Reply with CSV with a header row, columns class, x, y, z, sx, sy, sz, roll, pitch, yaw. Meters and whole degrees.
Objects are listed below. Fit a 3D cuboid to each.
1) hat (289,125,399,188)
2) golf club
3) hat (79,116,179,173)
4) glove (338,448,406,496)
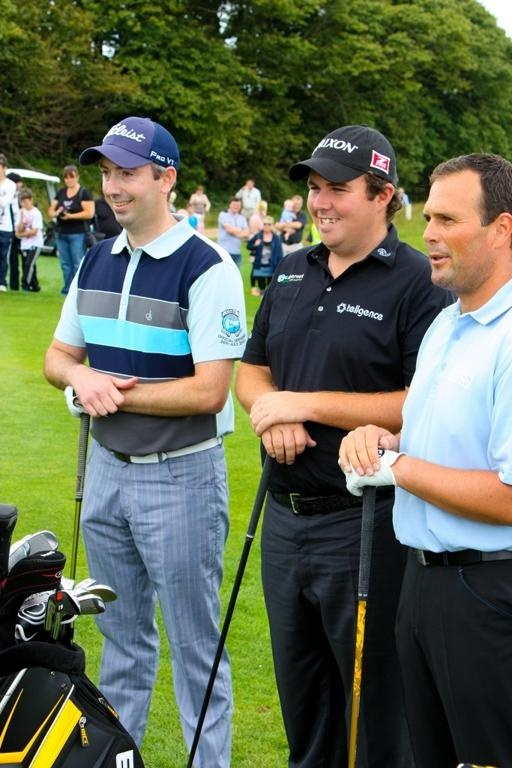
class,x,y,z,sx,sy,sz,roll,pitch,yaw
hat,0.269,-0.692,2.479,0.351,0.163,0.227,-5,18,-38
golf club,-0.466,0.480,2.000,0.302,0.268,0.224,1,4,3
hat,-0.393,-0.745,2.584,0.305,0.168,0.318,3,23,-13
glove,0.287,0.226,2.080,0.055,0.132,0.101,-22,81,-38
